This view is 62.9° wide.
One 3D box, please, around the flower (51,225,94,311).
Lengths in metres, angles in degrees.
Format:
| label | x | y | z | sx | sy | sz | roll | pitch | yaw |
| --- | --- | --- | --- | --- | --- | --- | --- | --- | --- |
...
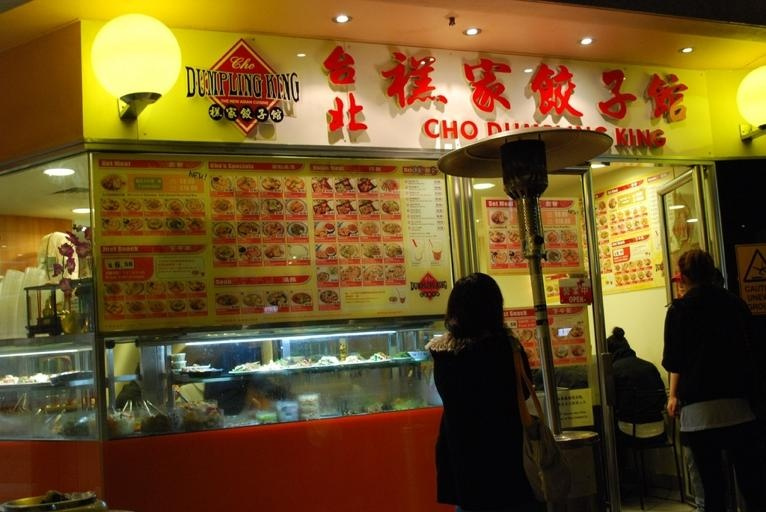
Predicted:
| label | x | y | z | sx | sy | sz | roll | pitch | yaw |
| --- | --- | --- | --- | --- | --- | --- | --- | --- | --- |
| flower | -2.288 | 0.057 | 4.529 | 0.164 | 0.350 | 0.214 | 16 | -4 | -34 |
